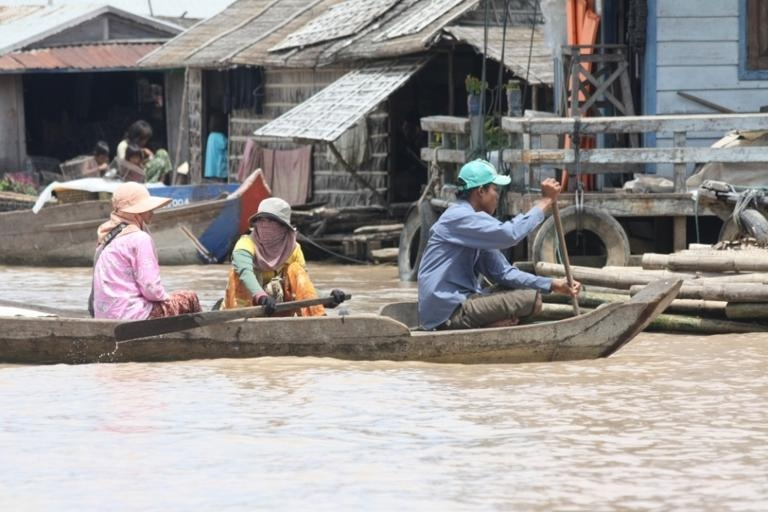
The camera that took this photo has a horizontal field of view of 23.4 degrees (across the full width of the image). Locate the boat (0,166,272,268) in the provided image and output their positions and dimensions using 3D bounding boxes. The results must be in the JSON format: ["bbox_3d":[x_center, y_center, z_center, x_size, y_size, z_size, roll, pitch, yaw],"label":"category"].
[{"bbox_3d":[-3.953,-0.581,28.542,5.174,1.262,1.632,-2,4,3],"label":"boat"}]

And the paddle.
[{"bbox_3d":[-1.824,0.741,21.397,2.819,0.245,0.207,-7,13,-12],"label":"paddle"}]

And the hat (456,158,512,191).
[{"bbox_3d":[1.149,-0.910,21.448,0.604,0.277,0.343,-10,-12,1],"label":"hat"}]

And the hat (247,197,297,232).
[{"bbox_3d":[-1.268,-0.531,21.892,0.438,0.244,0.492,5,-20,37],"label":"hat"}]

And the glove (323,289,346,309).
[{"bbox_3d":[-0.588,0.509,21.711,0.205,0.077,0.254,-12,3,12],"label":"glove"}]

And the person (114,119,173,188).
[{"bbox_3d":[-4.126,-1.593,30.289,1.091,1.219,0.941,7,-6,-15],"label":"person"}]

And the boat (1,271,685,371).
[{"bbox_3d":[-0.326,0.810,21.602,8.296,0.956,1.138,-1,3,2],"label":"boat"}]
